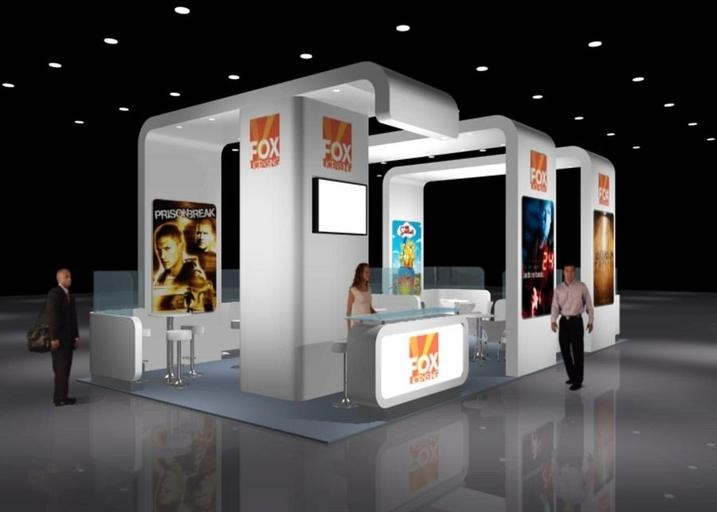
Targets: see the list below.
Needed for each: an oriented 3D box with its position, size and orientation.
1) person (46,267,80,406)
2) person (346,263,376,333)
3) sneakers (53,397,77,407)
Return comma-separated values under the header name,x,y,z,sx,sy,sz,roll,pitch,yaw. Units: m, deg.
name,x,y,z,sx,sy,sz,roll,pitch,yaw
person,-3.998,1.066,6.522,0.372,1.782,0.460,1,-1,-31
person,0.015,0.464,6.898,0.364,0.738,0.376,1,-1,-3
sneakers,-3.916,1.900,6.450,0.241,0.171,0.088,-4,5,-39
